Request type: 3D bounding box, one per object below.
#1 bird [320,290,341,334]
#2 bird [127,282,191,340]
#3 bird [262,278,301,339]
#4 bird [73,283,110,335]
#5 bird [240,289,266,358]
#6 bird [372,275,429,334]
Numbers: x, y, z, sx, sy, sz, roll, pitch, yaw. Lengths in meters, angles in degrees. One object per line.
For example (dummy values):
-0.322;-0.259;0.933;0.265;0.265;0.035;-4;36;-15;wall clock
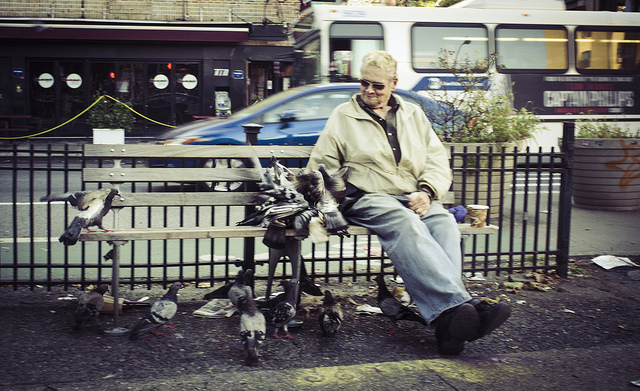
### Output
0.106;1.273;6.656;0.223;0.442;0.213;0;12;5;bird
-1.768;1.244;6.527;0.620;0.556;0.263;-4;12;-18;bird
-0.433;1.226;6.643;0.384;0.642;0.289;-1;12;1;bird
-2.536;1.233;6.699;0.397;0.463;0.240;-3;12;-13;bird
-0.698;1.342;6.251;0.234;0.587;0.287;-2;12;-5;bird
0.823;1.149;6.687;0.532;0.492;0.157;6;14;35;bird
